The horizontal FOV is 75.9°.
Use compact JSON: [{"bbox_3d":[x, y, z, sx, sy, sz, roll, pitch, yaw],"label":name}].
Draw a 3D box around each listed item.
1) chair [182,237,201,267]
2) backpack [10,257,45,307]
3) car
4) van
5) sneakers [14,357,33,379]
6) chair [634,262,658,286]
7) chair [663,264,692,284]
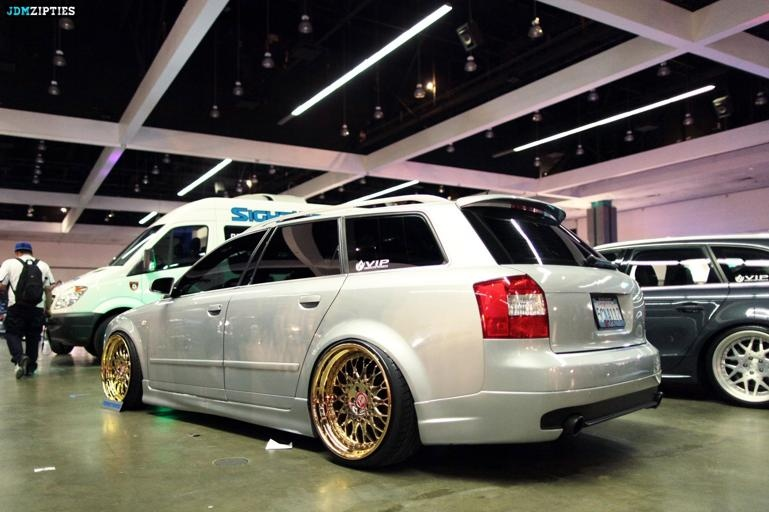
[{"bbox_3d":[-3.378,-0.074,8.821,0.307,0.479,0.491,6,7,-2],"label":"chair"},{"bbox_3d":[-5.739,0.426,7.984,0.392,0.858,0.248,-1,0,-23],"label":"backpack"},{"bbox_3d":[-0.513,0.569,4.884,4.723,1.464,2.306,-1,-4,39],"label":"car"},{"bbox_3d":[-3.906,0.353,9.944,5.587,2.705,2.644,2,-5,-12],"label":"van"},{"bbox_3d":[-5.819,1.793,7.972,0.140,0.367,0.165,-9,45,-48],"label":"sneakers"},{"bbox_3d":[3.253,0.229,6.108,0.200,0.276,0.158,-23,-28,36],"label":"chair"},{"bbox_3d":[3.593,0.270,6.065,0.300,0.271,0.223,-4,-14,40],"label":"chair"}]
